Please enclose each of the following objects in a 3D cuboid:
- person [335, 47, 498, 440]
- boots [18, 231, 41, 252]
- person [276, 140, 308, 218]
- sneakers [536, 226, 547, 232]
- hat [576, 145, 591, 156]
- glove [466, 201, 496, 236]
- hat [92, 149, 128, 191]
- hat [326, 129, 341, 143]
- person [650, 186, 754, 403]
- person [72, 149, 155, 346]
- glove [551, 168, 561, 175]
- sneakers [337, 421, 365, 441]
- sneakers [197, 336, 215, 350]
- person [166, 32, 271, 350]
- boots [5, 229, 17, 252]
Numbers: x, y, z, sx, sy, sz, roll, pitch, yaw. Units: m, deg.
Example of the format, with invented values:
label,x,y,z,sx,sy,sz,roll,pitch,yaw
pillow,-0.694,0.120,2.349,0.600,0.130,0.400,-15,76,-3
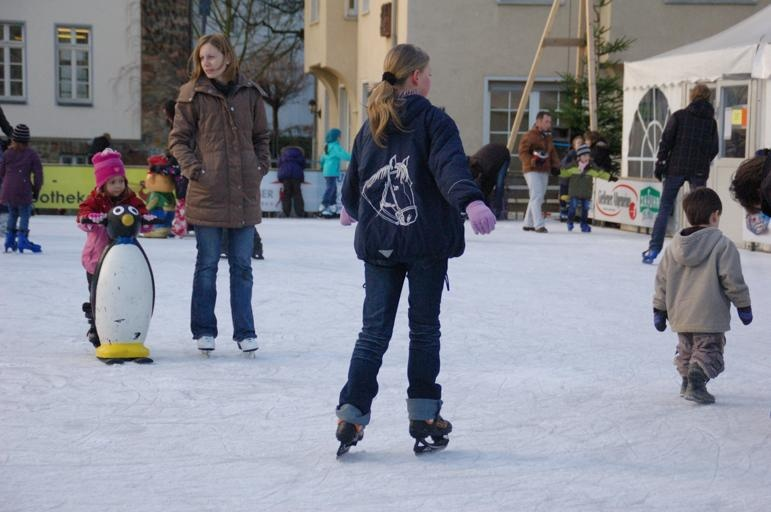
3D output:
label,x,y,z,sx,sy,sz,roll,pitch,yaw
person,0.187,-0.062,8.246,1.048,2.888,0.967,1,14,0
boots,-5.002,-0.189,15.630,0.322,0.301,0.502,-4,14,-19
person,-1.925,-1.506,22.839,0.576,1.504,0.833,0,14,-5
sneakers,2.709,-0.456,19.201,0.075,0.095,0.231,7,10,40
hat,3.463,-1.824,19.454,0.212,0.162,0.167,-27,17,-29
glove,0.678,-0.267,7.748,0.177,0.237,0.107,11,29,41
hat,-2.504,-0.783,10.100,0.259,0.368,0.319,-3,14,-14
hat,-1.078,-2.434,22.743,0.234,0.241,0.309,-11,16,-25
person,2.608,0.317,9.102,0.813,1.663,0.590,8,16,28
person,-2.496,-0.080,10.196,0.595,1.777,0.887,-3,14,-15
glove,2.894,-1.417,18.851,0.134,0.145,0.306,4,14,12
sneakers,-0.267,1.273,8.189,0.135,0.097,0.176,6,-8,-3
sneakers,-1.601,0.787,9.967,0.145,0.148,0.069,-3,15,-17
person,-1.433,-0.539,10.075,0.881,2.833,0.940,-7,16,-29
boots,-5.278,-0.205,15.656,0.170,0.309,0.337,-4,15,-18
